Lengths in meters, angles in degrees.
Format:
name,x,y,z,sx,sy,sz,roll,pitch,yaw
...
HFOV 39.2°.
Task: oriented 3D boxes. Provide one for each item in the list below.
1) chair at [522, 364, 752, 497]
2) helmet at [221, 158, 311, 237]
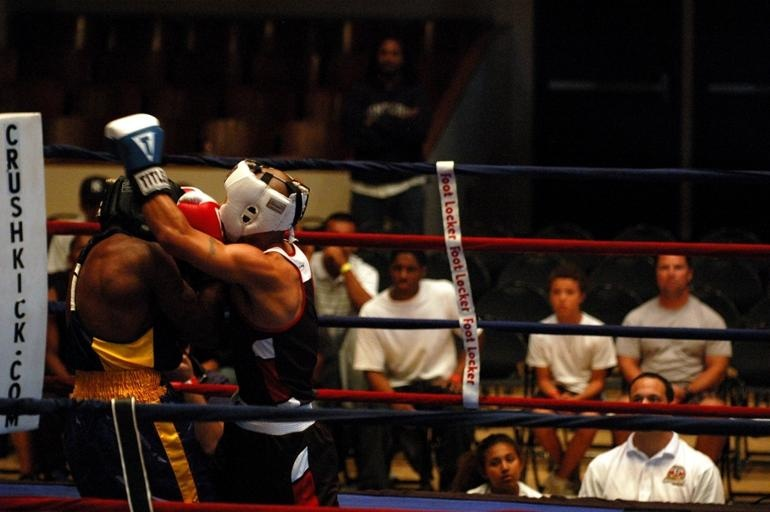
name,x,y,z,sx,sy,sz,roll,pitch,yaw
chair,1.586,1.025,6.843,1.261,1.029,0.658,-4,-26,20
helmet,-0.692,-0.316,5.988,0.492,0.376,0.357,22,10,9
